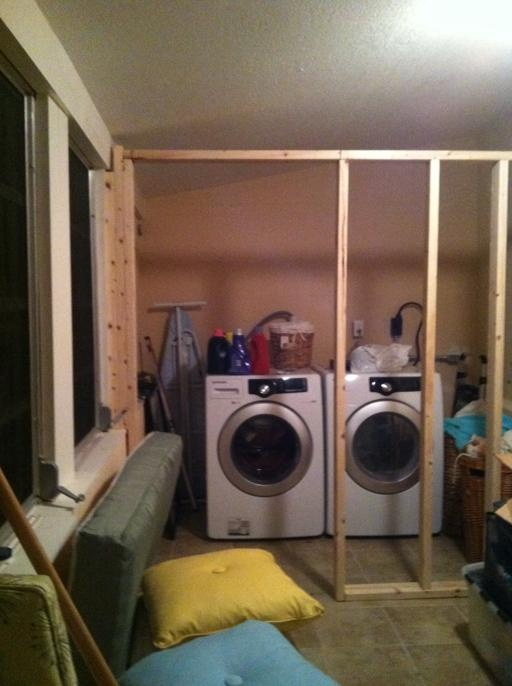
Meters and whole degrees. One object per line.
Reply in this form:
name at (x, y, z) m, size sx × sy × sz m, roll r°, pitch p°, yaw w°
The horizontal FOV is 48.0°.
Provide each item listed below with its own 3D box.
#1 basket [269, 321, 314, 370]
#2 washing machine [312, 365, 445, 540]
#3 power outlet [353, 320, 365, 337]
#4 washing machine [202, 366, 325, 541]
basket at (0.179, 0.013, 3.017) m, size 0.236 × 0.251 × 0.255 m, roll 0°, pitch -4°, yaw -1°
washing machine at (0.430, 0.568, 3.141) m, size 0.751 × 1.067 × 0.775 m, roll 0°, pitch -2°, yaw -2°
power outlet at (0.640, -0.086, 3.600) m, size 0.087 × 0.122 × 0.031 m, roll -3°, pitch 6°, yaw -21°
washing machine at (0.057, 0.543, 3.152) m, size 0.764 × 1.067 × 0.747 m, roll 0°, pitch 7°, yaw -1°
